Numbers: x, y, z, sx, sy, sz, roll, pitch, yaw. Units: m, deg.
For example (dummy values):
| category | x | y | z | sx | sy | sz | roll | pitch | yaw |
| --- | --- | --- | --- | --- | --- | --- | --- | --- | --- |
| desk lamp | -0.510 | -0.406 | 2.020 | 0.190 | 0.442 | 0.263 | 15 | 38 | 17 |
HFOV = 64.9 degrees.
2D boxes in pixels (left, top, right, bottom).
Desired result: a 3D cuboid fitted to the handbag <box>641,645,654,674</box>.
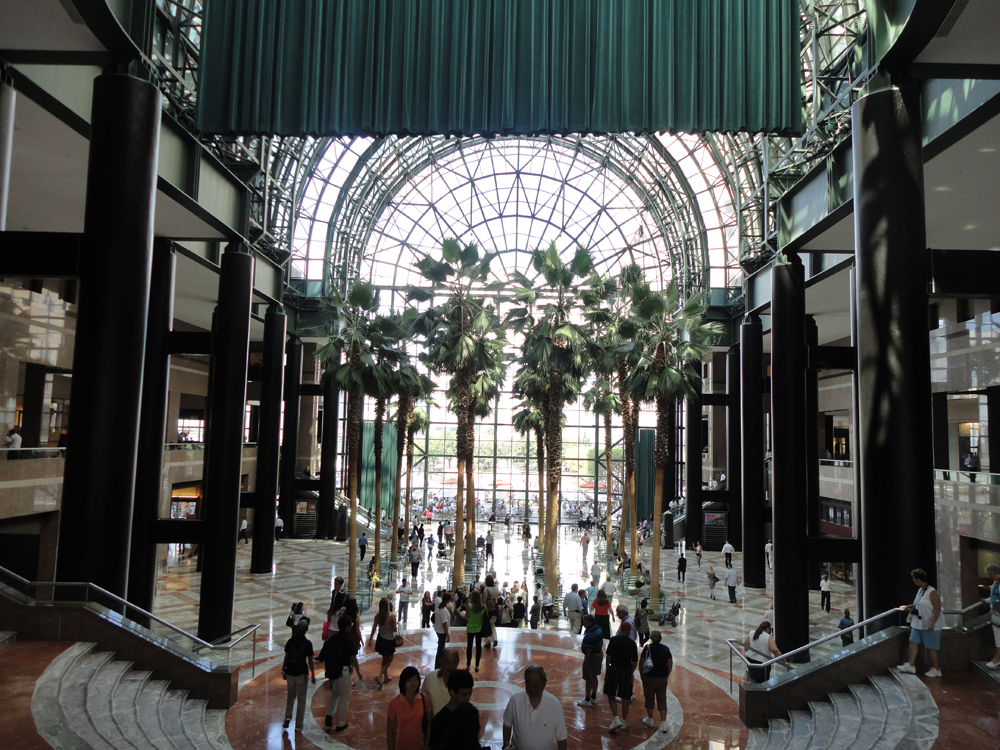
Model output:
| category | x | y | z | sx | sy | sz | roll | pitch | yaw |
| --- | --- | --- | --- | --- | --- | --- | --- | --- | --- |
| handbag | 2.653 | 5.145 | 14.277 | 0.144 | 0.523 | 0.359 | 5 | -11 | -25 |

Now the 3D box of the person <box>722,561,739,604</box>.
| category | x | y | z | sx | sy | sz | roll | pitch | yaw |
| --- | --- | --- | --- | --- | --- | --- | --- | --- | --- |
| person | 7.512 | 6.814 | 25.369 | 0.274 | 1.075 | 1.265 | -2 | -11 | 15 |

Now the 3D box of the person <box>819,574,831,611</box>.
| category | x | y | z | sx | sy | sz | roll | pitch | yaw |
| --- | --- | --- | --- | --- | --- | --- | --- | --- | --- |
| person | 10.790 | 7.219 | 26.120 | 0.335 | 1.113 | 1.745 | -4 | -12 | 22 |

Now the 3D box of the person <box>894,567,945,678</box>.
| category | x | y | z | sx | sy | sz | roll | pitch | yaw |
| --- | --- | --- | --- | --- | --- | --- | --- | --- | --- |
| person | 7.157 | 4.213 | 13.382 | 0.661 | 1.771 | 0.648 | -8 | -13 | 40 |

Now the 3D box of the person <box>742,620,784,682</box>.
| category | x | y | z | sx | sy | sz | roll | pitch | yaw |
| --- | --- | --- | --- | --- | --- | --- | --- | --- | --- |
| person | 5.051 | 5.266 | 15.206 | 0.562 | 1.025 | 2.463 | -3 | -12 | 17 |

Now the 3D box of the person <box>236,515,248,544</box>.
| category | x | y | z | sx | sy | sz | roll | pitch | yaw |
| --- | --- | --- | --- | --- | --- | --- | --- | --- | --- |
| person | -12.417 | 7.525 | 38.335 | 0.425 | 1.285 | 2.802 | 4 | -12 | -18 |

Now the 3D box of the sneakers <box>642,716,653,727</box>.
| category | x | y | z | sx | sy | sz | roll | pitch | yaw |
| --- | --- | --- | --- | --- | --- | --- | --- | --- | --- |
| sneakers | 2.779 | 6.445 | 14.657 | 0.197 | 0.162 | 0.255 | -2 | -11 | 11 |

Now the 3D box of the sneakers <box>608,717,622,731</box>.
| category | x | y | z | sx | sy | sz | roll | pitch | yaw |
| --- | --- | --- | --- | --- | --- | --- | --- | --- | --- |
| sneakers | 2.112 | 6.359 | 14.252 | 0.112 | 0.272 | 0.342 | 5 | -22 | -19 |

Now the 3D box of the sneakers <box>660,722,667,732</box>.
| category | x | y | z | sx | sy | sz | roll | pitch | yaw |
| --- | --- | --- | --- | --- | --- | --- | --- | --- | --- |
| sneakers | 3.037 | 6.472 | 14.537 | 0.104 | 0.163 | 0.323 | -2 | -12 | 13 |

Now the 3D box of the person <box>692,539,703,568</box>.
| category | x | y | z | sx | sy | sz | roll | pitch | yaw |
| --- | --- | --- | --- | --- | --- | --- | --- | --- | --- |
| person | 8.280 | 7.437 | 32.931 | 0.330 | 1.026 | 1.490 | -2 | -11 | 14 |

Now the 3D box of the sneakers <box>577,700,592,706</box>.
| category | x | y | z | sx | sy | sz | roll | pitch | yaw |
| --- | --- | --- | --- | --- | --- | --- | --- | --- | --- |
| sneakers | 1.645 | 6.382 | 15.329 | 0.181 | 0.085 | 0.106 | 3 | -1 | 37 |
